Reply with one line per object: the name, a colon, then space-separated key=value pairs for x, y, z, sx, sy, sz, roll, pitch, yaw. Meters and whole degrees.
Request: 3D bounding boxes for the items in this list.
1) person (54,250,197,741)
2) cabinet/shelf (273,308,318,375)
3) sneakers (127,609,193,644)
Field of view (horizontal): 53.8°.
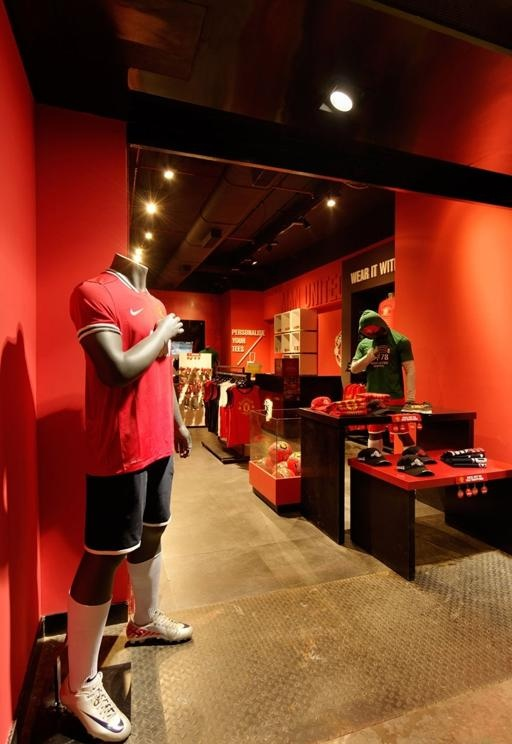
person: x=-0.450 y=0.346 z=1.766 sx=0.337 sy=1.553 sz=0.571 roll=0 pitch=3 yaw=3
cabinet/shelf: x=0.717 y=-0.574 z=8.729 sx=0.352 sy=1.275 sz=1.245 roll=0 pitch=0 yaw=-17
sneakers: x=-0.396 y=1.046 z=2.097 sx=0.297 sy=0.149 sz=0.111 roll=1 pitch=-5 yaw=-12
